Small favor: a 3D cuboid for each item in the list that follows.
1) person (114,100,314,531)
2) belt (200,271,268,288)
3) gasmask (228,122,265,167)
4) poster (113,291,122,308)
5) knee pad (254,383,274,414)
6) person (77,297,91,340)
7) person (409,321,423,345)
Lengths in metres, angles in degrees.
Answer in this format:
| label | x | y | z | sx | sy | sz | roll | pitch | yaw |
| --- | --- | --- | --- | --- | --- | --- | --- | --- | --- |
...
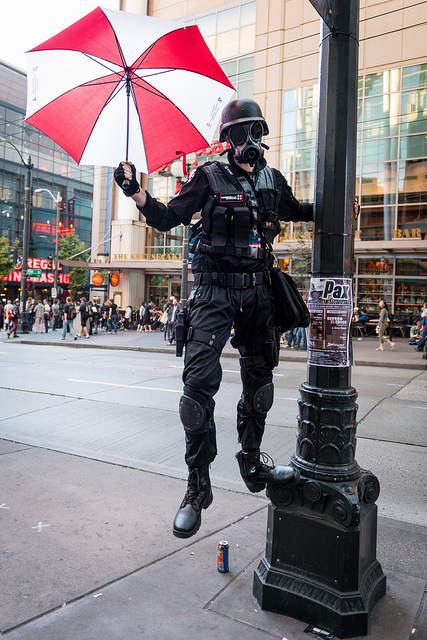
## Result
| label | x | y | z | sx | sy | sz | roll | pitch | yaw |
| --- | --- | --- | --- | --- | --- | --- | --- | --- | --- |
| person | 0.077 | -0.095 | 2.591 | 0.941 | 1.888 | 0.578 | 1 | 0 | -43 |
| belt | 0.113 | -0.194 | 2.559 | 0.340 | 0.075 | 0.101 | 1 | 1 | -19 |
| gasmask | 0.145 | -0.840 | 2.618 | 0.153 | 0.209 | 0.213 | -8 | 8 | -8 |
| poster | -5.670 | -1.209 | 31.762 | 0.705 | 0.842 | 0.323 | 2 | 0 | 36 |
| knee pad | 0.253 | 0.381 | 2.650 | 0.057 | 0.143 | 0.119 | 2 | 0 | 38 |
| person | -5.257 | -0.084 | 22.053 | 0.459 | 1.430 | 1.219 | 1 | 0 | -13 |
| person | 7.293 | 0.475 | 19.741 | 0.369 | 0.867 | 1.645 | 1 | 1 | 21 |
